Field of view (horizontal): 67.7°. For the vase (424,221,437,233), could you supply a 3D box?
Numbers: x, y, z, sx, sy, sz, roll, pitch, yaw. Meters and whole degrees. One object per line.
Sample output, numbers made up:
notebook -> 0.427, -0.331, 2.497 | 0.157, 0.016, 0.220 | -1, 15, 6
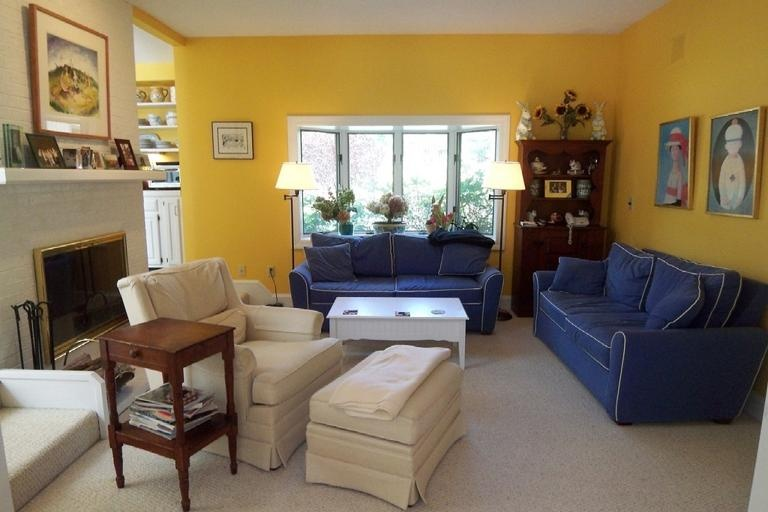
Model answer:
vase -> 0.571, -0.344, 7.060 | 0.119, 0.117, 0.120 | 7, 15, 28

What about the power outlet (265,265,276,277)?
power outlet -> -1.432, 0.196, 7.196 | 0.143, 0.145, 0.119 | 0, 5, -3

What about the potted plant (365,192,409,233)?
potted plant -> -0.009, -0.484, 7.186 | 0.588, 0.601, 0.461 | 0, -1, -5

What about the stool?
stool -> 0.031, 1.191, 4.301 | 0.944, 0.763, 1.172 | -2, 5, 22

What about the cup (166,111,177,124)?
cup -> -3.039, -1.911, 8.082 | 0.129, 0.208, 0.251 | -3, 12, -19

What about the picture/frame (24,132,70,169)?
picture/frame -> -2.894, -0.877, 4.839 | 0.041, 0.387, 0.361 | -13, 6, 13

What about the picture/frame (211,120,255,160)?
picture/frame -> -1.849, -1.420, 6.971 | 0.461, 0.470, 0.015 | 0, 7, -4

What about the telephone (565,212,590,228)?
telephone -> 2.276, -0.401, 6.700 | 0.250, 0.164, 0.180 | 2, 13, 9

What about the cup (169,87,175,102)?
cup -> -3.042, -2.274, 8.125 | 0.054, 0.187, 0.119 | -10, 16, -41

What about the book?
book -> -1.532, 1.028, 4.083 | 0.408, 0.141, 0.420 | 4, 5, 29

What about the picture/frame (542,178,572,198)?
picture/frame -> 2.076, -0.798, 6.784 | 0.237, 0.176, 0.034 | 0, 1, 0

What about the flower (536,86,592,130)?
flower -> 2.134, -1.696, 6.699 | 0.729, 0.495, 0.449 | 2, 11, 6

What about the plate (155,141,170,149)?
plate -> -3.139, -1.552, 8.101 | 0.191, 0.095, 0.073 | -4, 12, -25

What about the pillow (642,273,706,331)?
pillow -> 2.456, 0.406, 4.761 | 0.168, 0.443, 0.438 | 19, 11, 20

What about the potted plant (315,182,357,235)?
potted plant -> -0.529, -0.576, 7.293 | 0.544, 0.676, 0.632 | -3, 5, 9

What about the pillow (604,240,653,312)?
pillow -> 2.418, 0.231, 5.614 | 0.316, 0.599, 0.607 | 5, 8, 0

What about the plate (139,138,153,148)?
plate -> -3.421, -1.583, 8.128 | 0.128, 0.075, 0.128 | 0, 7, -6

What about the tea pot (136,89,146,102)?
tea pot -> -3.499, -2.292, 8.214 | 0.141, 0.244, 0.391 | -4, 12, -20

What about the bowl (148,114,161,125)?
bowl -> -3.283, -1.909, 8.129 | 0.131, 0.157, 0.158 | -5, 32, -10

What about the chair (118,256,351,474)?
chair -> -1.248, 0.775, 4.723 | 1.511, 1.294, 1.171 | 4, 11, 17

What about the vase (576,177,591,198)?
vase -> 2.362, -0.779, 6.745 | 0.200, 0.282, 0.201 | -2, 10, -4

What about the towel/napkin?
towel/napkin -> 0.054, 0.880, 4.251 | 0.428, 0.147, 0.717 | -1, 12, 27

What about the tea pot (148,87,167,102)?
tea pot -> -3.269, -2.258, 8.099 | 0.171, 0.218, 0.274 | 4, 5, 37

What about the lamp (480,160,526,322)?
lamp -> 1.419, -0.193, 6.803 | 0.463, 1.830, 0.768 | 3, 12, 13

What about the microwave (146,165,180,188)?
microwave -> -3.122, -1.107, 8.063 | 0.442, 0.331, 0.465 | 2, 11, 7
